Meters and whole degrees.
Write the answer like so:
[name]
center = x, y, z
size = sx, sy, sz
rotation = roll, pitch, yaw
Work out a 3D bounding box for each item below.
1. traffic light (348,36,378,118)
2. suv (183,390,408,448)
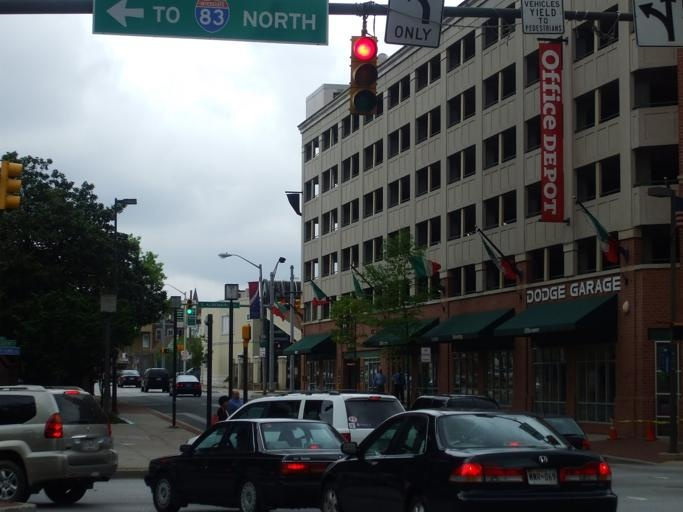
[traffic light]
center = 0.346, -3.144, 17.591
size = 0.438, 1.468, 0.371
rotation = 1, -13, -2
[suv]
center = -0.581, 3.894, 23.090
size = 1.874, 1.697, 4.059
rotation = 4, -5, -41
